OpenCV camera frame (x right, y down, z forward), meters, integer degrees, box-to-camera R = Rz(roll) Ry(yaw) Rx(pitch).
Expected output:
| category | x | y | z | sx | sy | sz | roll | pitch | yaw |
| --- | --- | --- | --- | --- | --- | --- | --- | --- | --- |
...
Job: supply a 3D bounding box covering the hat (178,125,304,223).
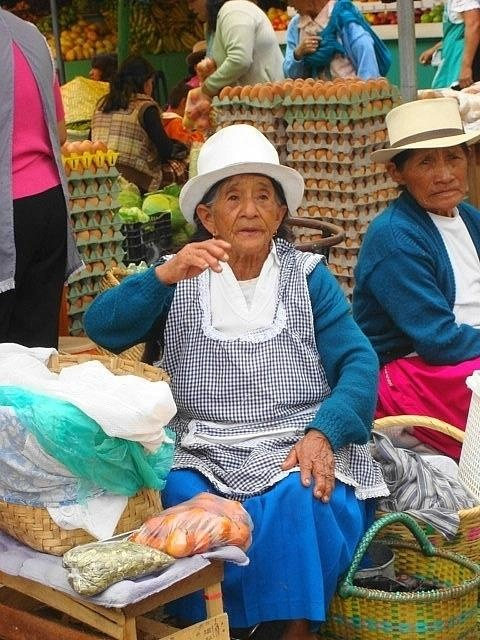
| category | x | y | z | sx | sy | sz | roll | pitch | yaw |
| --- | --- | --- | --- | --- | --- | --- | --- | --- | --- |
| hat | 0.000 | -0.487 | 2.255 | 0.370 | 0.268 | 0.333 | -12 | 24 | -22 |
